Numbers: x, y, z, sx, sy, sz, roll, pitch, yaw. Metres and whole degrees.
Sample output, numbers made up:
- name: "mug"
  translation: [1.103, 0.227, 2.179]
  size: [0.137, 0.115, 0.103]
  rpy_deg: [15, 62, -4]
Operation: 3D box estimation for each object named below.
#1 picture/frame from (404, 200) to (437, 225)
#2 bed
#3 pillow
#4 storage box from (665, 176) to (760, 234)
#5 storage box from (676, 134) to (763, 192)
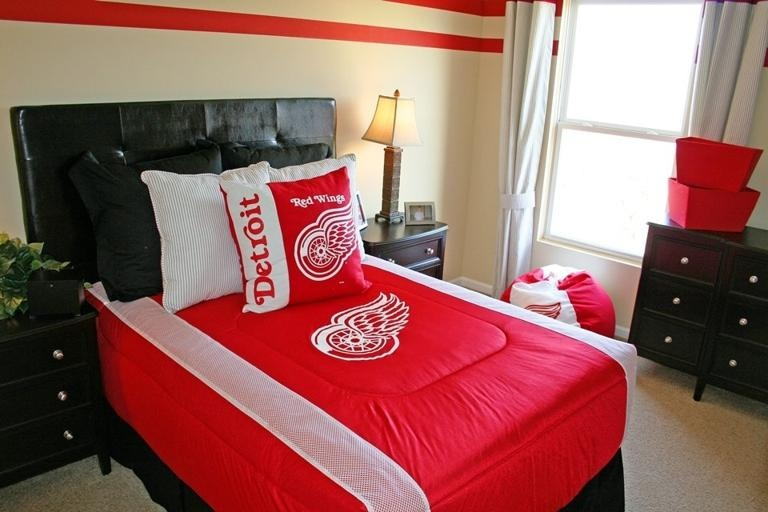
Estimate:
- name: "picture/frame"
  translation: [0.270, -0.322, 3.913]
  size: [0.225, 0.154, 0.034]
  rpy_deg: [-1, 2, -9]
- name: "bed"
  translation: [-1.262, 0.206, 3.573]
  size: [2.585, 1.572, 2.656]
  rpy_deg: [-17, 32, -41]
- name: "pillow"
  translation: [-0.898, -0.130, 2.710]
  size: [1.016, 0.565, 0.284]
  rpy_deg: [-9, 11, -29]
- name: "storage box"
  translation: [2.105, -0.358, 3.422]
  size: [0.487, 0.261, 0.375]
  rpy_deg: [6, 13, 18]
- name: "storage box"
  translation: [2.107, -0.620, 3.396]
  size: [0.519, 0.282, 0.344]
  rpy_deg: [10, 21, 30]
